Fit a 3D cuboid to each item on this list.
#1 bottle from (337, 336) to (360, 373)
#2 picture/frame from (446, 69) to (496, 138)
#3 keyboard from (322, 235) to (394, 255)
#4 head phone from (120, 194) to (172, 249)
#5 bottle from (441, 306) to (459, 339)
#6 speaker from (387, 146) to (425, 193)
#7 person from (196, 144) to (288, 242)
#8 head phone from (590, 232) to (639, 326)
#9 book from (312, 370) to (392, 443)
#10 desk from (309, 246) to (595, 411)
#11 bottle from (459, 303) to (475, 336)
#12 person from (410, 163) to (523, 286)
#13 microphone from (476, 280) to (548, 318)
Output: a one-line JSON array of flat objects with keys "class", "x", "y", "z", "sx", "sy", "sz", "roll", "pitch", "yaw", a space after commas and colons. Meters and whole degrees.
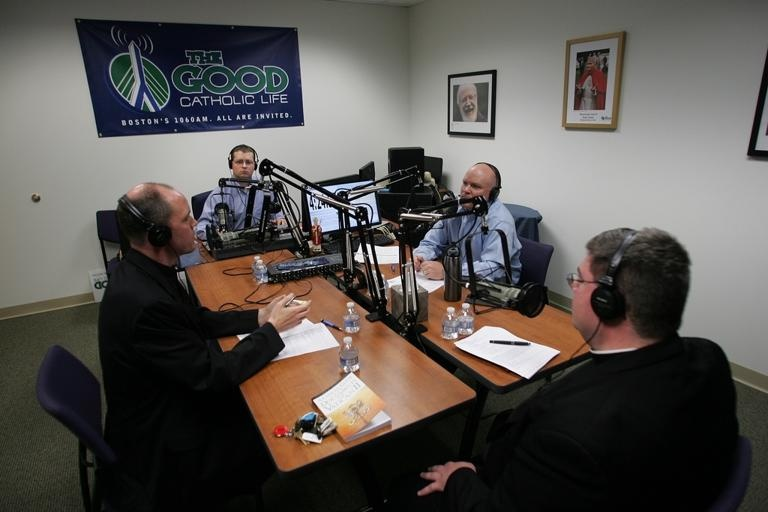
[{"class": "bottle", "x": -0.179, "y": 0.510, "z": 2.453, "sx": 0.102, "sy": 0.161, "sz": 0.104, "roll": -2, "pitch": 10, "yaw": 0}, {"class": "picture/frame", "x": 0.940, "y": -1.672, "z": 5.154, "sx": 0.709, "sy": 0.628, "sz": 0.031, "roll": -15, "pitch": 21, "yaw": -33}, {"class": "keyboard", "x": -0.246, "y": -0.122, "z": 3.859, "sx": 0.369, "sy": 0.052, "sz": 0.251, "roll": -9, "pitch": 28, "yaw": -18}, {"class": "head phone", "x": -1.236, "y": -0.191, "z": 2.446, "sx": 0.107, "sy": 0.271, "sz": 0.297, "roll": -48, "pitch": 12, "yaw": -9}, {"class": "bottle", "x": 0.375, "y": 0.369, "z": 2.665, "sx": 0.098, "sy": 0.171, "sz": 0.095, "roll": -2, "pitch": 19, "yaw": 1}, {"class": "speaker", "x": 0.253, "y": -1.077, "z": 5.368, "sx": 0.436, "sy": 0.569, "sz": 0.350, "roll": -5, "pitch": 45, "yaw": -4}, {"class": "person", "x": -1.287, "y": -0.573, "z": 4.277, "sx": 0.826, "sy": 0.932, "sz": 0.528, "roll": -9, "pitch": 43, "yaw": -25}, {"class": "head phone", "x": 0.925, "y": 0.093, "z": 1.876, "sx": 0.115, "sy": 0.291, "sz": 0.335, "roll": 16, "pitch": 14, "yaw": 32}, {"class": "book", "x": -0.144, "y": 0.709, "z": 2.208, "sx": 0.260, "sy": 0.144, "sz": 0.326, "roll": -14, "pitch": 21, "yaw": -34}, {"class": "desk", "x": 0.343, "y": 0.391, "z": 2.631, "sx": 0.640, "sy": 0.254, "sz": 1.008, "roll": -16, "pitch": 30, "yaw": -22}, {"class": "bottle", "x": 0.472, "y": 0.353, "z": 2.716, "sx": 0.098, "sy": 0.169, "sz": 0.097, "roll": -5, "pitch": 11, "yaw": 1}, {"class": "person", "x": 0.600, "y": -0.191, "z": 3.510, "sx": 0.707, "sy": 0.983, "sz": 0.945, "roll": 13, "pitch": 14, "yaw": 35}, {"class": "microphone", "x": 0.742, "y": 0.219, "z": 2.703, "sx": 0.217, "sy": 0.154, "sz": 0.352, "roll": -11, "pitch": 13, "yaw": -26}]
